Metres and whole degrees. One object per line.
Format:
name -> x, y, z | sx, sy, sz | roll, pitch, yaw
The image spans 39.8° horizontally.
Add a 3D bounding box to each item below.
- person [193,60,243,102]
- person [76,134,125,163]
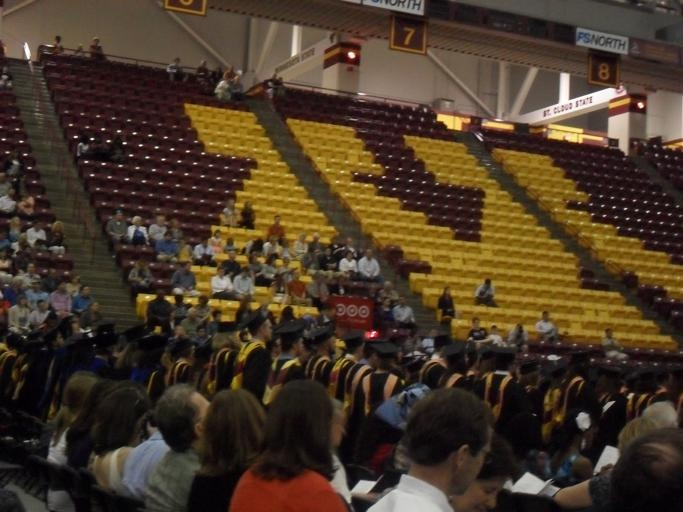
person -> -3.894, -5.483, 29.602 | 1.438, 0.880, 1.761 | 3, 26, -23
person -> -5.977, -2.670, 23.428 | 1.132, 0.515, 0.431 | 5, -3, -10
